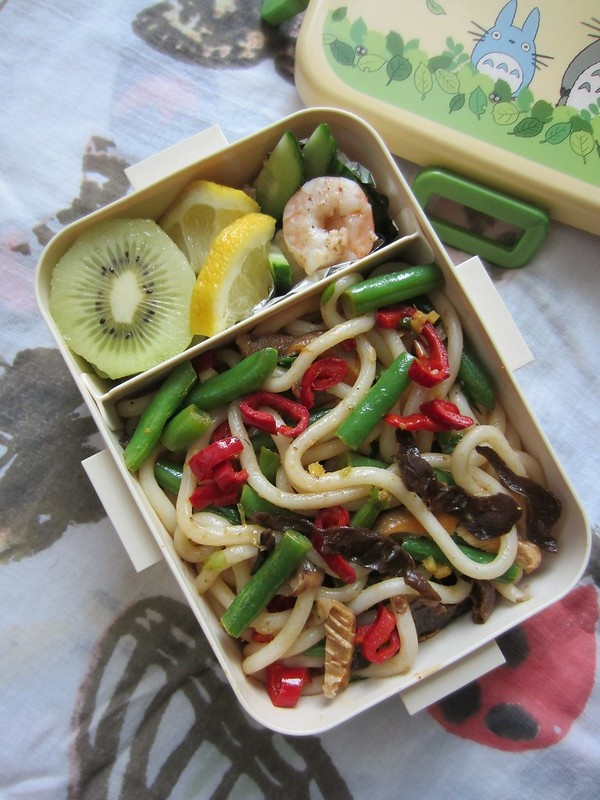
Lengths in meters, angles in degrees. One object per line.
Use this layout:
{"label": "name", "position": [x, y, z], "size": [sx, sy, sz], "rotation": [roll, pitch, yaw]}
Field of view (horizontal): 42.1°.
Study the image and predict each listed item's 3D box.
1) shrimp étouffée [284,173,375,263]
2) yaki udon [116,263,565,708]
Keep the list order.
{"label": "shrimp étouffée", "position": [0.032, -0.423, 1.875], "size": [0.164, 0.198, 0.258], "rotation": [23, 37, 36]}
{"label": "yaki udon", "position": [0.115, 0.188, 1.808], "size": [1.043, 0.463, 0.851], "rotation": [-26, 66, -10]}
